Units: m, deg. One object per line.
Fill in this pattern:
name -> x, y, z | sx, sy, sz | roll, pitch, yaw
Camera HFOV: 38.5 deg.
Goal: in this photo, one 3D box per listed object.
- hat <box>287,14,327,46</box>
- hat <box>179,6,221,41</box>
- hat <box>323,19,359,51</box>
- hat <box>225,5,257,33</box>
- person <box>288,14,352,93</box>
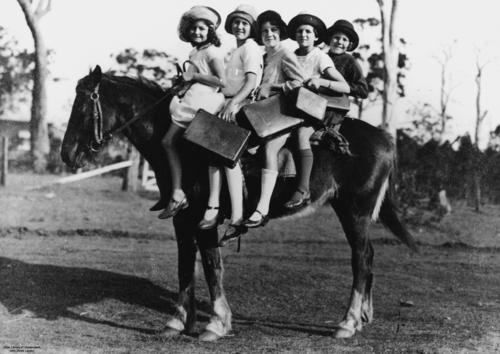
hat -> 0.668, -1.719, 8.405 | 0.463, 0.333, 0.395 | 5, 4, 7
hat -> -0.565, -1.730, 8.096 | 0.464, 0.383, 0.284 | 4, 4, -7
hat -> 1.095, -1.690, 8.576 | 0.404, 0.343, 0.338 | 5, 4, 10
hat -> -0.141, -1.806, 8.192 | 0.414, 0.307, 0.297 | 7, 5, 33
person -> 0.728, -1.302, 8.407 | 0.754, 1.143, 0.543 | -11, -18, 33
